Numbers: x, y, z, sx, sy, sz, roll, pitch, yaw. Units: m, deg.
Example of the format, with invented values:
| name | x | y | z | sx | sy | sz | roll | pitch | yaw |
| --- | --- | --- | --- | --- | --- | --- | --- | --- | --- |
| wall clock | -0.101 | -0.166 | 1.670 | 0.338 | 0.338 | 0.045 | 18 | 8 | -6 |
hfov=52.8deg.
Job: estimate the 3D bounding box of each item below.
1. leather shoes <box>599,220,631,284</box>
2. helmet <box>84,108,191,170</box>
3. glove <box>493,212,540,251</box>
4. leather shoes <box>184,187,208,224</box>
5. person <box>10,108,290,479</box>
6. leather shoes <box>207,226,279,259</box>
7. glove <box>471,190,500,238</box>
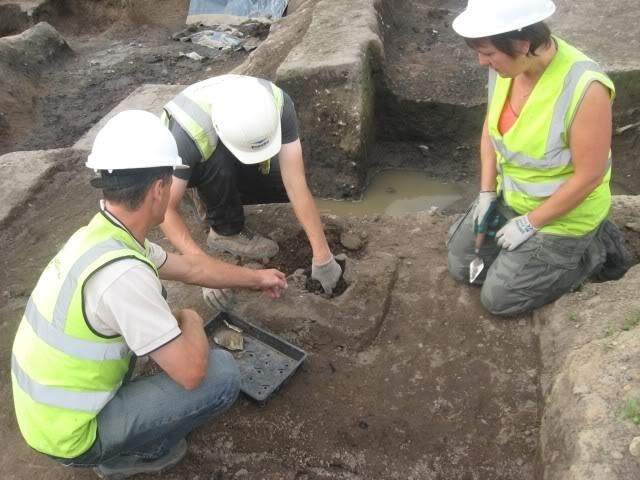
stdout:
| name | x | y | z | sx | sy | sz | roll | pitch | yaw |
| --- | --- | --- | --- | --- | --- | --- | --- | --- | --- |
| leather shoes | 1.707 | 0.083 | 3.734 | 0.149 | 0.428 | 0.150 | -24 | 40 | 22 |
| helmet | -0.892 | -0.482 | 3.164 | 0.445 | 0.577 | 0.316 | -2 | 91 | -13 |
| glove | 1.090 | -0.047 | 3.575 | 0.062 | 0.221 | 0.142 | -5 | 62 | -39 |
| leather shoes | -0.773 | -0.216 | 4.153 | 0.164 | 0.239 | 0.084 | 11 | 42 | 47 |
| person | -0.865 | 0.410 | 3.134 | 0.888 | 1.249 | 1.427 | 22 | 63 | 24 |
| leather shoes | -0.479 | 0.031 | 4.211 | 0.463 | 0.207 | 0.189 | 8 | 40 | 4 |
| glove | 0.970 | -0.154 | 3.815 | 0.151 | 0.091 | 0.247 | 24 | 105 | 52 |
